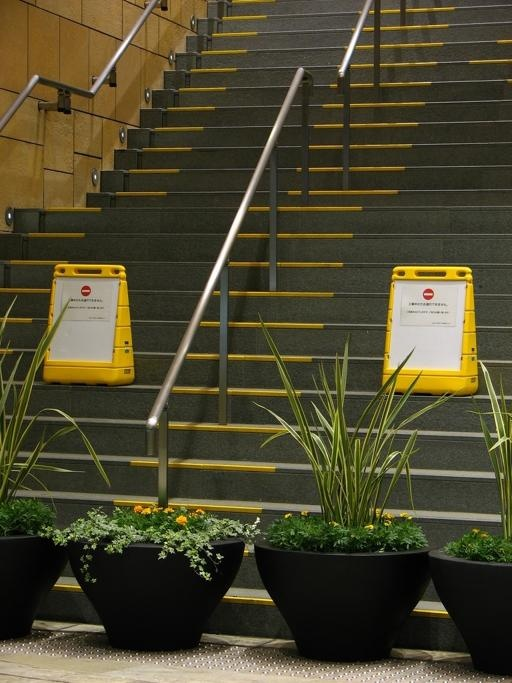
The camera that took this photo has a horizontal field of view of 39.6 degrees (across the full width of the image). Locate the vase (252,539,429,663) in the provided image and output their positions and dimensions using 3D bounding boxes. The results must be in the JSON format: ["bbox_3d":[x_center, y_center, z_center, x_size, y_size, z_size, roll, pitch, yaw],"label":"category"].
[{"bbox_3d":[0.261,0.758,2.105,0.576,0.301,0.520,5,-11,-19],"label":"vase"}]
